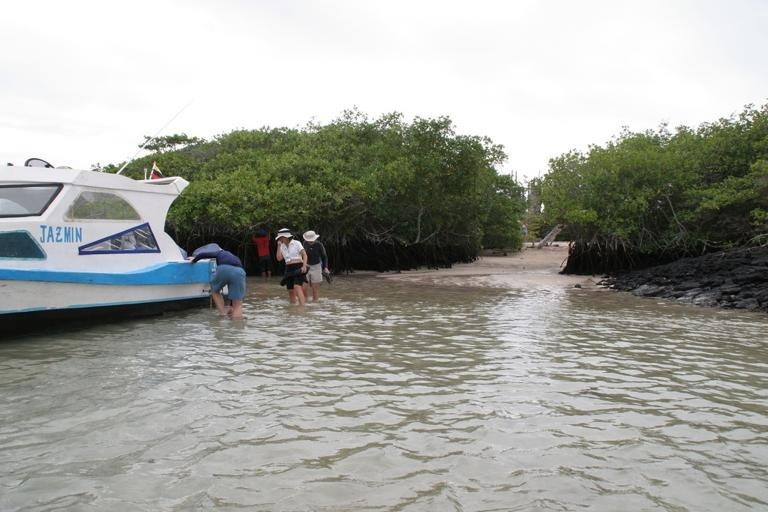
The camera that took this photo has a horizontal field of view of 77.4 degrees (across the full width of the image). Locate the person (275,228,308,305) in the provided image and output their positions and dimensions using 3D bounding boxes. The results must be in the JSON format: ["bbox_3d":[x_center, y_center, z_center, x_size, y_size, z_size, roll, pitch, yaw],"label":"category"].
[{"bbox_3d":[-2.549,0.303,13.361,0.826,2.102,1.169,-1,7,-11],"label":"person"}]

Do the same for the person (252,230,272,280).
[{"bbox_3d":[-5.788,-0.192,22.746,0.755,2.292,1.535,-2,7,-15],"label":"person"}]

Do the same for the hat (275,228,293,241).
[{"bbox_3d":[-2.786,-0.617,13.368,0.326,0.274,0.758,-1,6,-12],"label":"hat"}]

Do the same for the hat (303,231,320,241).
[{"bbox_3d":[-2.123,-0.550,13.905,0.482,0.136,0.375,-3,43,6],"label":"hat"}]
